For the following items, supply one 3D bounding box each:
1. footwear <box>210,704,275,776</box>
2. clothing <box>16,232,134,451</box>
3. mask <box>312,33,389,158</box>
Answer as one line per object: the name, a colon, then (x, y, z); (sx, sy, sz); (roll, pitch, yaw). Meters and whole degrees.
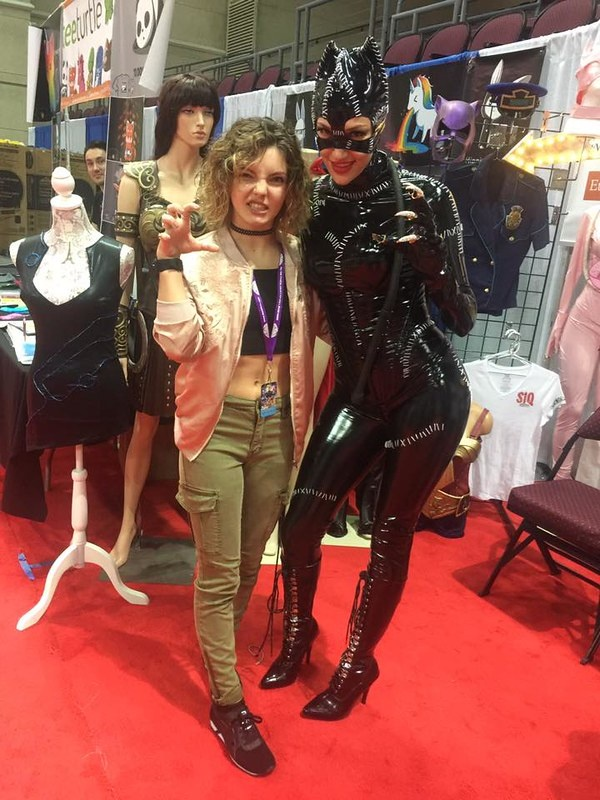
footwear: (-0.141, 0.850, 1.475); (0.099, 0.088, 0.249); (-15, 14, -20)
clothing: (-0.748, -0.185, 1.859); (0.314, 0.603, 0.240); (-2, 4, -17)
mask: (0.120, -0.728, 1.360); (0.180, 0.300, 0.154); (6, 10, -1)
